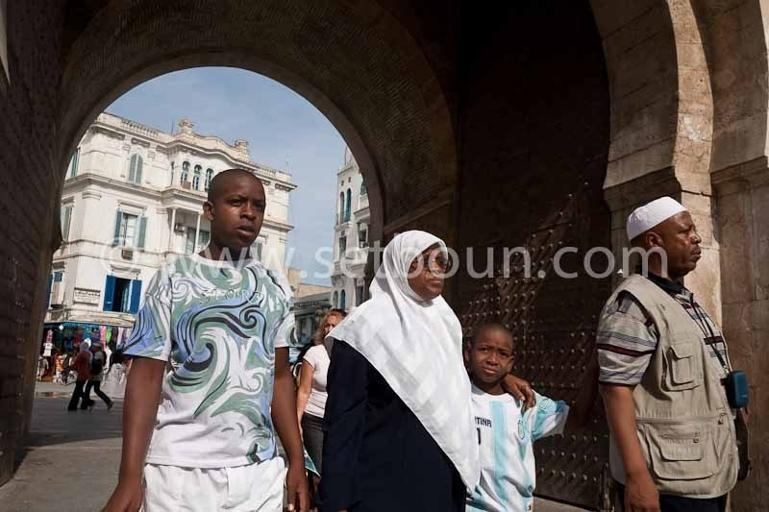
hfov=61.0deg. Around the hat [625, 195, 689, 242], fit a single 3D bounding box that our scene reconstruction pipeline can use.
[{"bbox_3d":[1.832,-0.221,4.481,0.361,0.191,0.272,-27,-3,39],"label":"hat"}]
